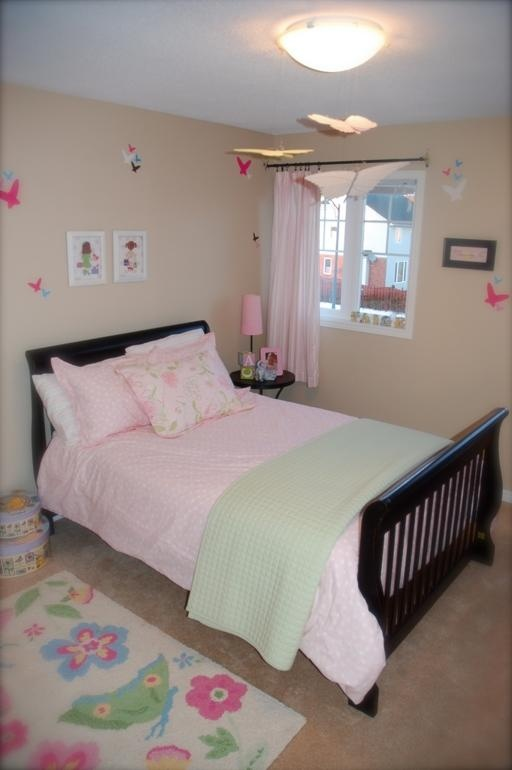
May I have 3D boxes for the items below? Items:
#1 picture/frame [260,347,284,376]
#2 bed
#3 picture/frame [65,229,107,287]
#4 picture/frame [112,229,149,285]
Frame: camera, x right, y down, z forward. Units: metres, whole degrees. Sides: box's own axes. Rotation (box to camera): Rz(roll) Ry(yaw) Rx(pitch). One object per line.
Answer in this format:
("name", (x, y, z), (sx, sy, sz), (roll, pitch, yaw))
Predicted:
("picture/frame", (0.112, -0.169, 4.243), (0.203, 0.259, 0.019), (-1, 7, -8))
("bed", (0.030, 0.470, 3.106), (2.211, 1.221, 1.444), (19, 31, 40))
("picture/frame", (-0.978, -0.728, 3.221), (0.019, 0.306, 0.271), (19, 32, 25))
("picture/frame", (-0.775, -0.798, 3.510), (0.241, 0.298, 0.012), (4, 6, 25))
